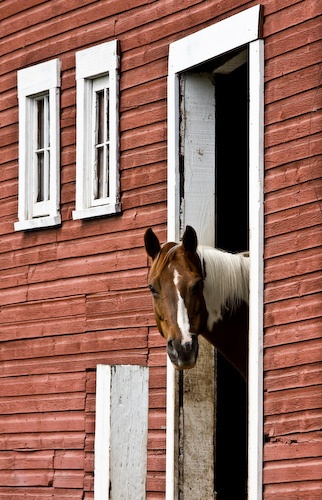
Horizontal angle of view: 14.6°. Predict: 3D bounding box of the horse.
[{"bbox_3d":[0.254,0.326,7.769,0.492,0.869,1.257,-6,-9,22],"label":"horse"}]
